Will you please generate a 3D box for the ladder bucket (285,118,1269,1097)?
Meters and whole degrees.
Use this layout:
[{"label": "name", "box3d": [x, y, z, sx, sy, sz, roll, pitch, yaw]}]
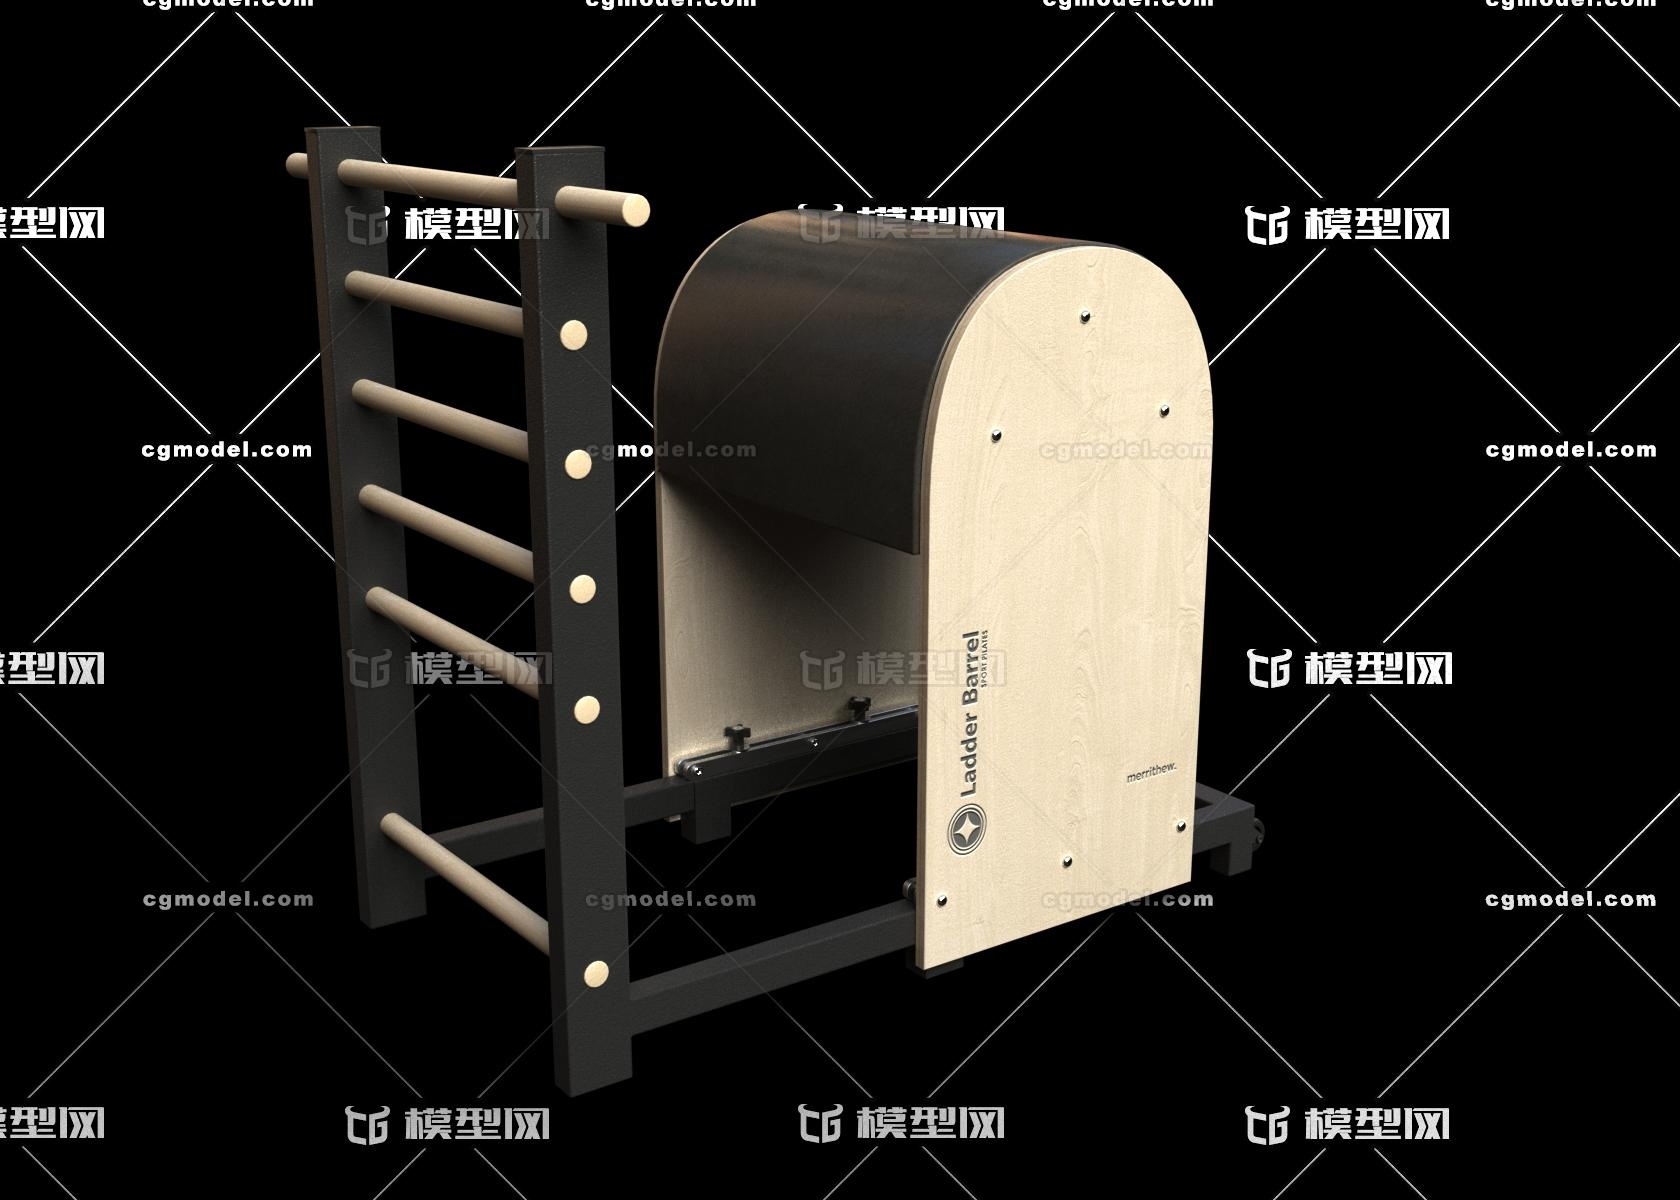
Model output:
[{"label": "ladder bucket", "box3d": [-0.131, -0.214, 3.808, 1.917, 1.831, 1.591, -10, 16, -37]}]
